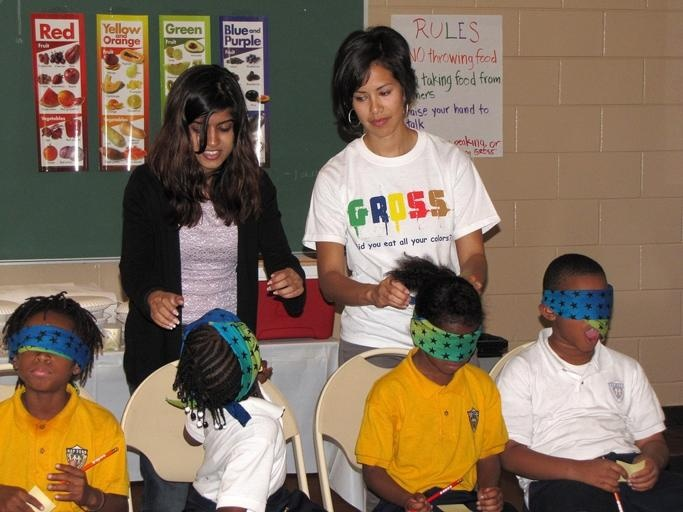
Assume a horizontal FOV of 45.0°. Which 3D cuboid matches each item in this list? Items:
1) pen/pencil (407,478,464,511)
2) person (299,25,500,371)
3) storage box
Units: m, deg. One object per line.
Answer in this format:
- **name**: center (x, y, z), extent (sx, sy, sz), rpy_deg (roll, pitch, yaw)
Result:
- **pen/pencil**: center (0.292, 0.767, 2.607), extent (0.141, 0.016, 0.016), rpy_deg (-34, -16, -32)
- **person**: center (0.236, 0.116, 3.050), extent (0.677, 1.825, 0.387), rpy_deg (-3, 10, 3)
- **storage box**: center (-0.216, 0.138, 3.803), extent (0.438, 0.338, 0.249), rpy_deg (0, 5, -4)
